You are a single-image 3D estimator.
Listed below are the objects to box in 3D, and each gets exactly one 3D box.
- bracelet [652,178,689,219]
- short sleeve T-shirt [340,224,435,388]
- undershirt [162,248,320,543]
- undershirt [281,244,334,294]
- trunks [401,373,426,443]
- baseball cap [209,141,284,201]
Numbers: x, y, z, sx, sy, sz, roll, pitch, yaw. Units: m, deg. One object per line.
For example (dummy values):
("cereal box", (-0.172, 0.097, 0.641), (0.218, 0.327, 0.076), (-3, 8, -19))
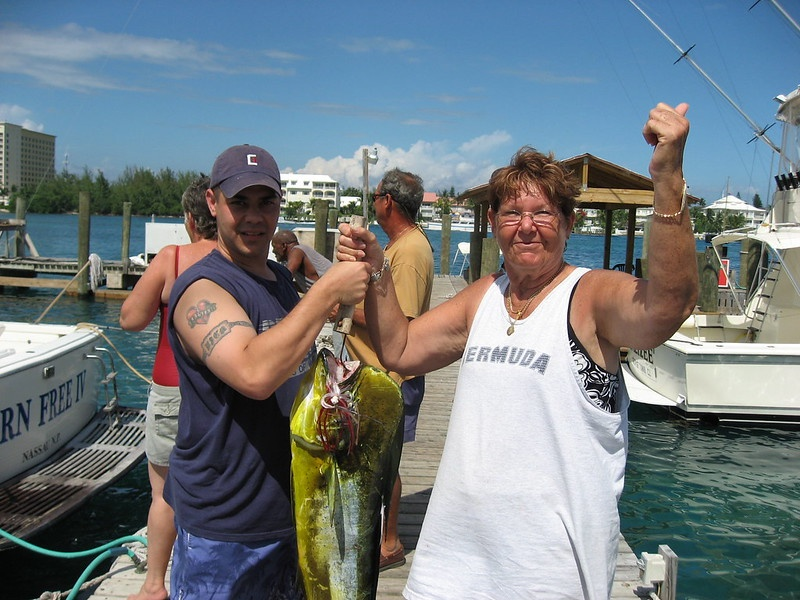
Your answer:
("bracelet", (1.026, -0.376, 2.632), (0.119, 0.139, 0.161), (5, 12, 23))
("short sleeve T-shirt", (-0.093, -0.115, 4.748), (0.483, 0.950, 0.852), (4, 28, -12))
("undershirt", (-0.717, 0.422, 3.218), (0.638, 1.094, 0.577), (4, 1, -37))
("undershirt", (-1.128, -0.381, 8.070), (0.670, 0.725, 0.571), (-3, 19, -5))
("trunks", (0.091, 0.730, 4.483), (0.170, 0.364, 0.246), (6, -14, -1))
("baseball cap", (-0.702, -0.578, 3.164), (0.308, 0.274, 0.455), (-3, 2, -25))
